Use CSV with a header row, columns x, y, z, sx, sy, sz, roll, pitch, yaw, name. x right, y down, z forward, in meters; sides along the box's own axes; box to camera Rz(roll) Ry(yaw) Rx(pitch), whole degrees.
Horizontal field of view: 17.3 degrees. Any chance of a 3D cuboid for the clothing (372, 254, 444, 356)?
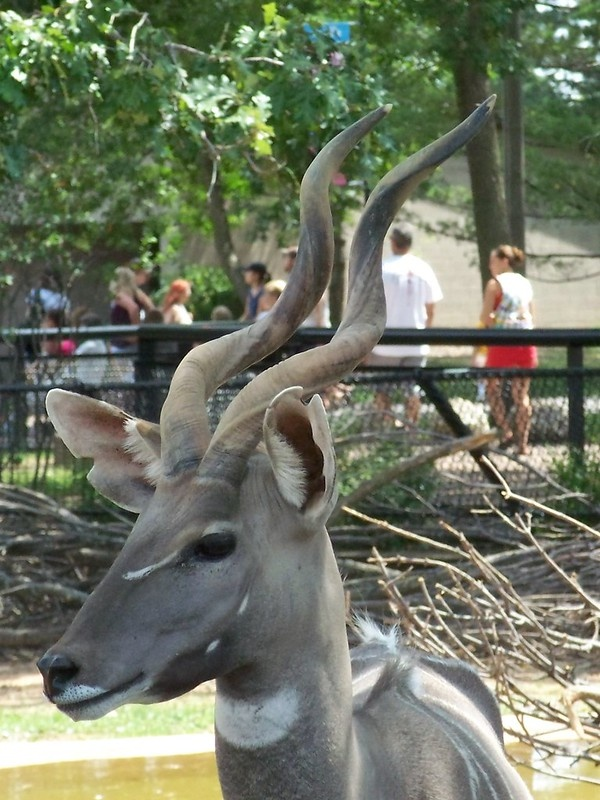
x,y,z,sx,sy,sz,roll,pitch,yaw,name
0.483,-0.439,9.218,0.346,0.475,0.163,-3,5,-10,clothing
